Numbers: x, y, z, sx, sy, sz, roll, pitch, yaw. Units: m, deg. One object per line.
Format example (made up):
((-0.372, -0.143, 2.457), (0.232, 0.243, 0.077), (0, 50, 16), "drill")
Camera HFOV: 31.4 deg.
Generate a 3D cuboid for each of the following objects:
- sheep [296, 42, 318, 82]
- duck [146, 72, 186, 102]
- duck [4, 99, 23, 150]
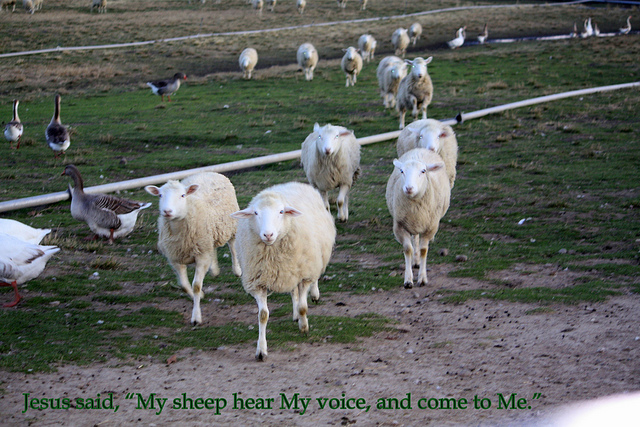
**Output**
((-0.560, -7.340, 55.336), (0.812, 1.695, 1.699), (-3, 14, -8), "sheep")
((-6.941, -5.738, 51.719), (2.227, 1.260, 1.038), (5, 5, 36), "duck")
((-12.287, -3.540, 45.552), (0.697, 1.940, 0.933), (-5, 15, -16), "duck")
